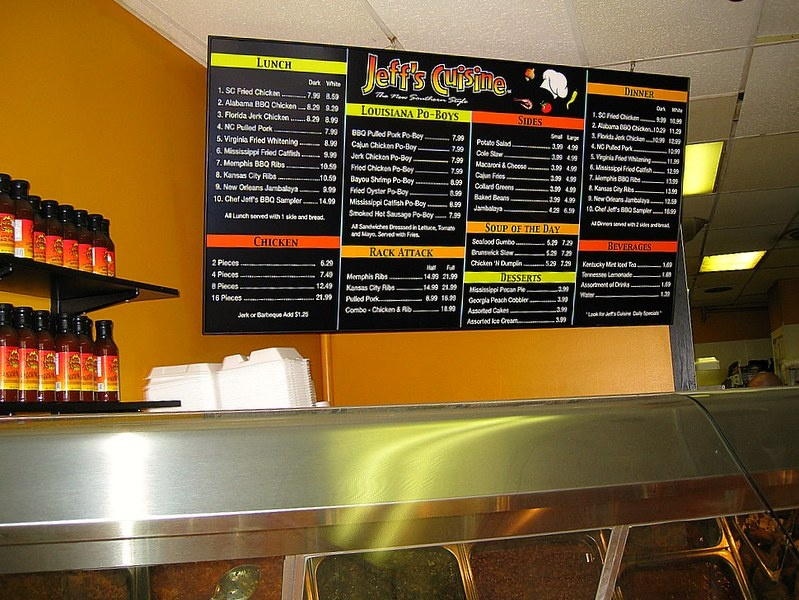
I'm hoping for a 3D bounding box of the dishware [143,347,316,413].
[{"bbox_3d":[-0.492,0.222,1.630,0.465,0.160,0.199,-6,-11,10],"label":"dishware"}]
